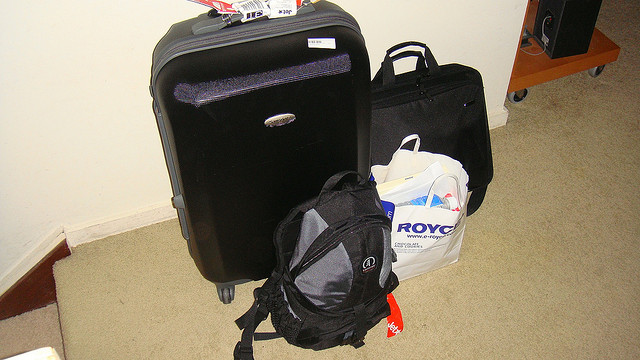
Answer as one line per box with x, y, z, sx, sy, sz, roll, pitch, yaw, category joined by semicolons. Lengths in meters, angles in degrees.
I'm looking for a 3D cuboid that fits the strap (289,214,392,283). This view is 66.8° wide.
0.049;0.265;2.114;0.367;0.325;0.250;-21;48;-17;strap

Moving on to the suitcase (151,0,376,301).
-0.227;-0.141;2.115;1.004;1.107;0.506;-24;45;-13;suitcase

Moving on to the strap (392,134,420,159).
0.406;-0.158;2.269;0.109;0.103;0.070;10;6;-3;strap

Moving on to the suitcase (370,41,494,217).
0.446;-0.229;2.441;0.721;0.893;0.351;-16;37;-11;suitcase

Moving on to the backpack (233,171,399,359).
-0.017;0.354;2.100;0.738;0.526;0.366;-22;44;-23;backpack

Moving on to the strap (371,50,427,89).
0.384;-0.505;2.221;0.263;0.175;0.094;8;13;26;strap

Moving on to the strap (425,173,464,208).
0.546;0.058;2.181;0.181;0.159;0.116;-9;43;3;strap
